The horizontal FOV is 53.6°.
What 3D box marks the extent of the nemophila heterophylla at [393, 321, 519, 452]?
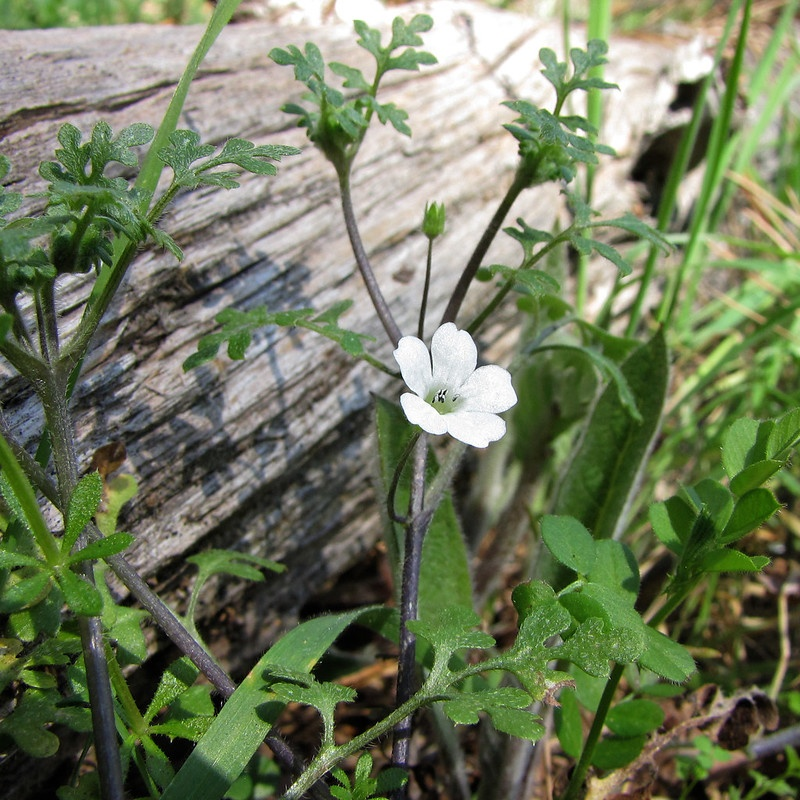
[{"bbox_3d":[0.076,0.005,1.352,0.225,0.211,0.093,33,41,-4],"label":"nemophila heterophylla"}]
